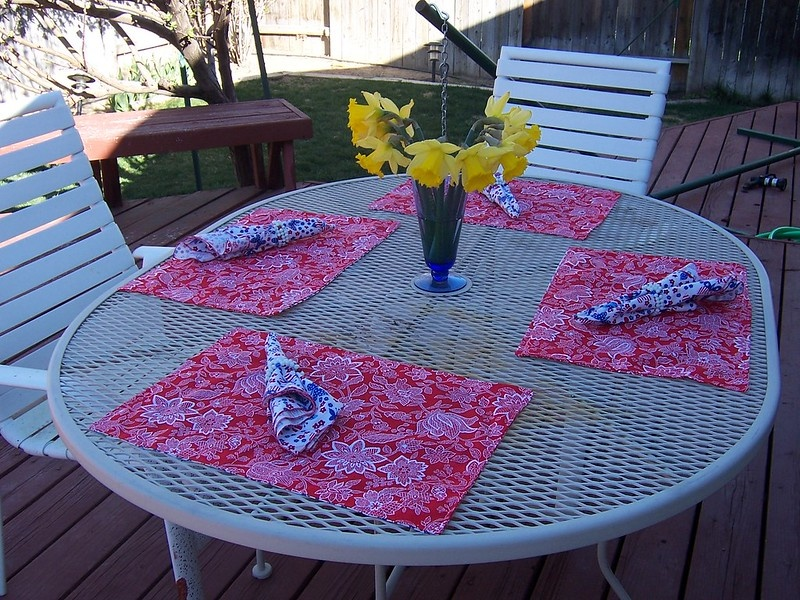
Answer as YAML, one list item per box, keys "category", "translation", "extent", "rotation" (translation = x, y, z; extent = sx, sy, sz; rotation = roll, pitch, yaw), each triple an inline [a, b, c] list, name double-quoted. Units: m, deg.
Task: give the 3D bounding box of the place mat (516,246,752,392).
- category: "place mat"
  translation: [0.470, 0.085, 1.216]
  extent: [0.363, 0.022, 0.364]
  rotation: [13, 34, 29]

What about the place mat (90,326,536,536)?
- category: "place mat"
  translation: [-0.140, 0.178, 1.008]
  extent: [0.659, 0.067, 0.344]
  rotation: [9, 29, 19]

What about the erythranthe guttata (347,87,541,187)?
- category: "erythranthe guttata"
  translation: [0.067, -0.305, 1.256]
  extent: [0.273, 0.145, 0.287]
  rotation: [-2, 19, -8]

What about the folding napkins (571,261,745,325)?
- category: "folding napkins"
  translation: [0.538, -0.002, 1.235]
  extent: [0.294, 0.081, 0.146]
  rotation: [-16, 30, -4]

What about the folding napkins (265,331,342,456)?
- category: "folding napkins"
  translation: [-0.179, 0.163, 0.983]
  extent: [0.096, 0.056, 0.163]
  rotation: [-30, 46, -27]
